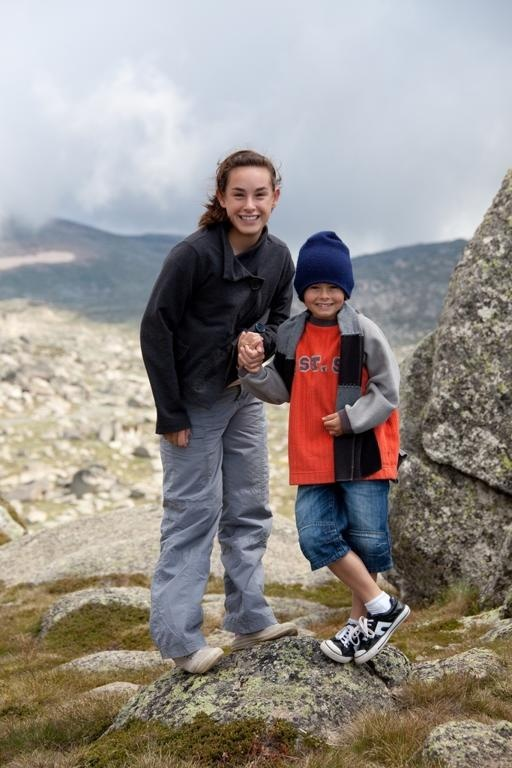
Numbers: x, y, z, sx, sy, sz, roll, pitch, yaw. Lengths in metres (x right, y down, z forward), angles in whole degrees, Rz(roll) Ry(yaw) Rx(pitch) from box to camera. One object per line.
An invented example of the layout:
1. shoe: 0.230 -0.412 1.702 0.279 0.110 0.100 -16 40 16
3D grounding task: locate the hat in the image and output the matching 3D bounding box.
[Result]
1. hat: 0.451 -0.782 5.709 0.439 0.431 0.509 -1 5 5

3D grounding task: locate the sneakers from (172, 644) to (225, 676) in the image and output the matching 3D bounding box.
1. sneakers: -0.392 1.816 5.546 0.330 0.146 0.150 -26 10 25
